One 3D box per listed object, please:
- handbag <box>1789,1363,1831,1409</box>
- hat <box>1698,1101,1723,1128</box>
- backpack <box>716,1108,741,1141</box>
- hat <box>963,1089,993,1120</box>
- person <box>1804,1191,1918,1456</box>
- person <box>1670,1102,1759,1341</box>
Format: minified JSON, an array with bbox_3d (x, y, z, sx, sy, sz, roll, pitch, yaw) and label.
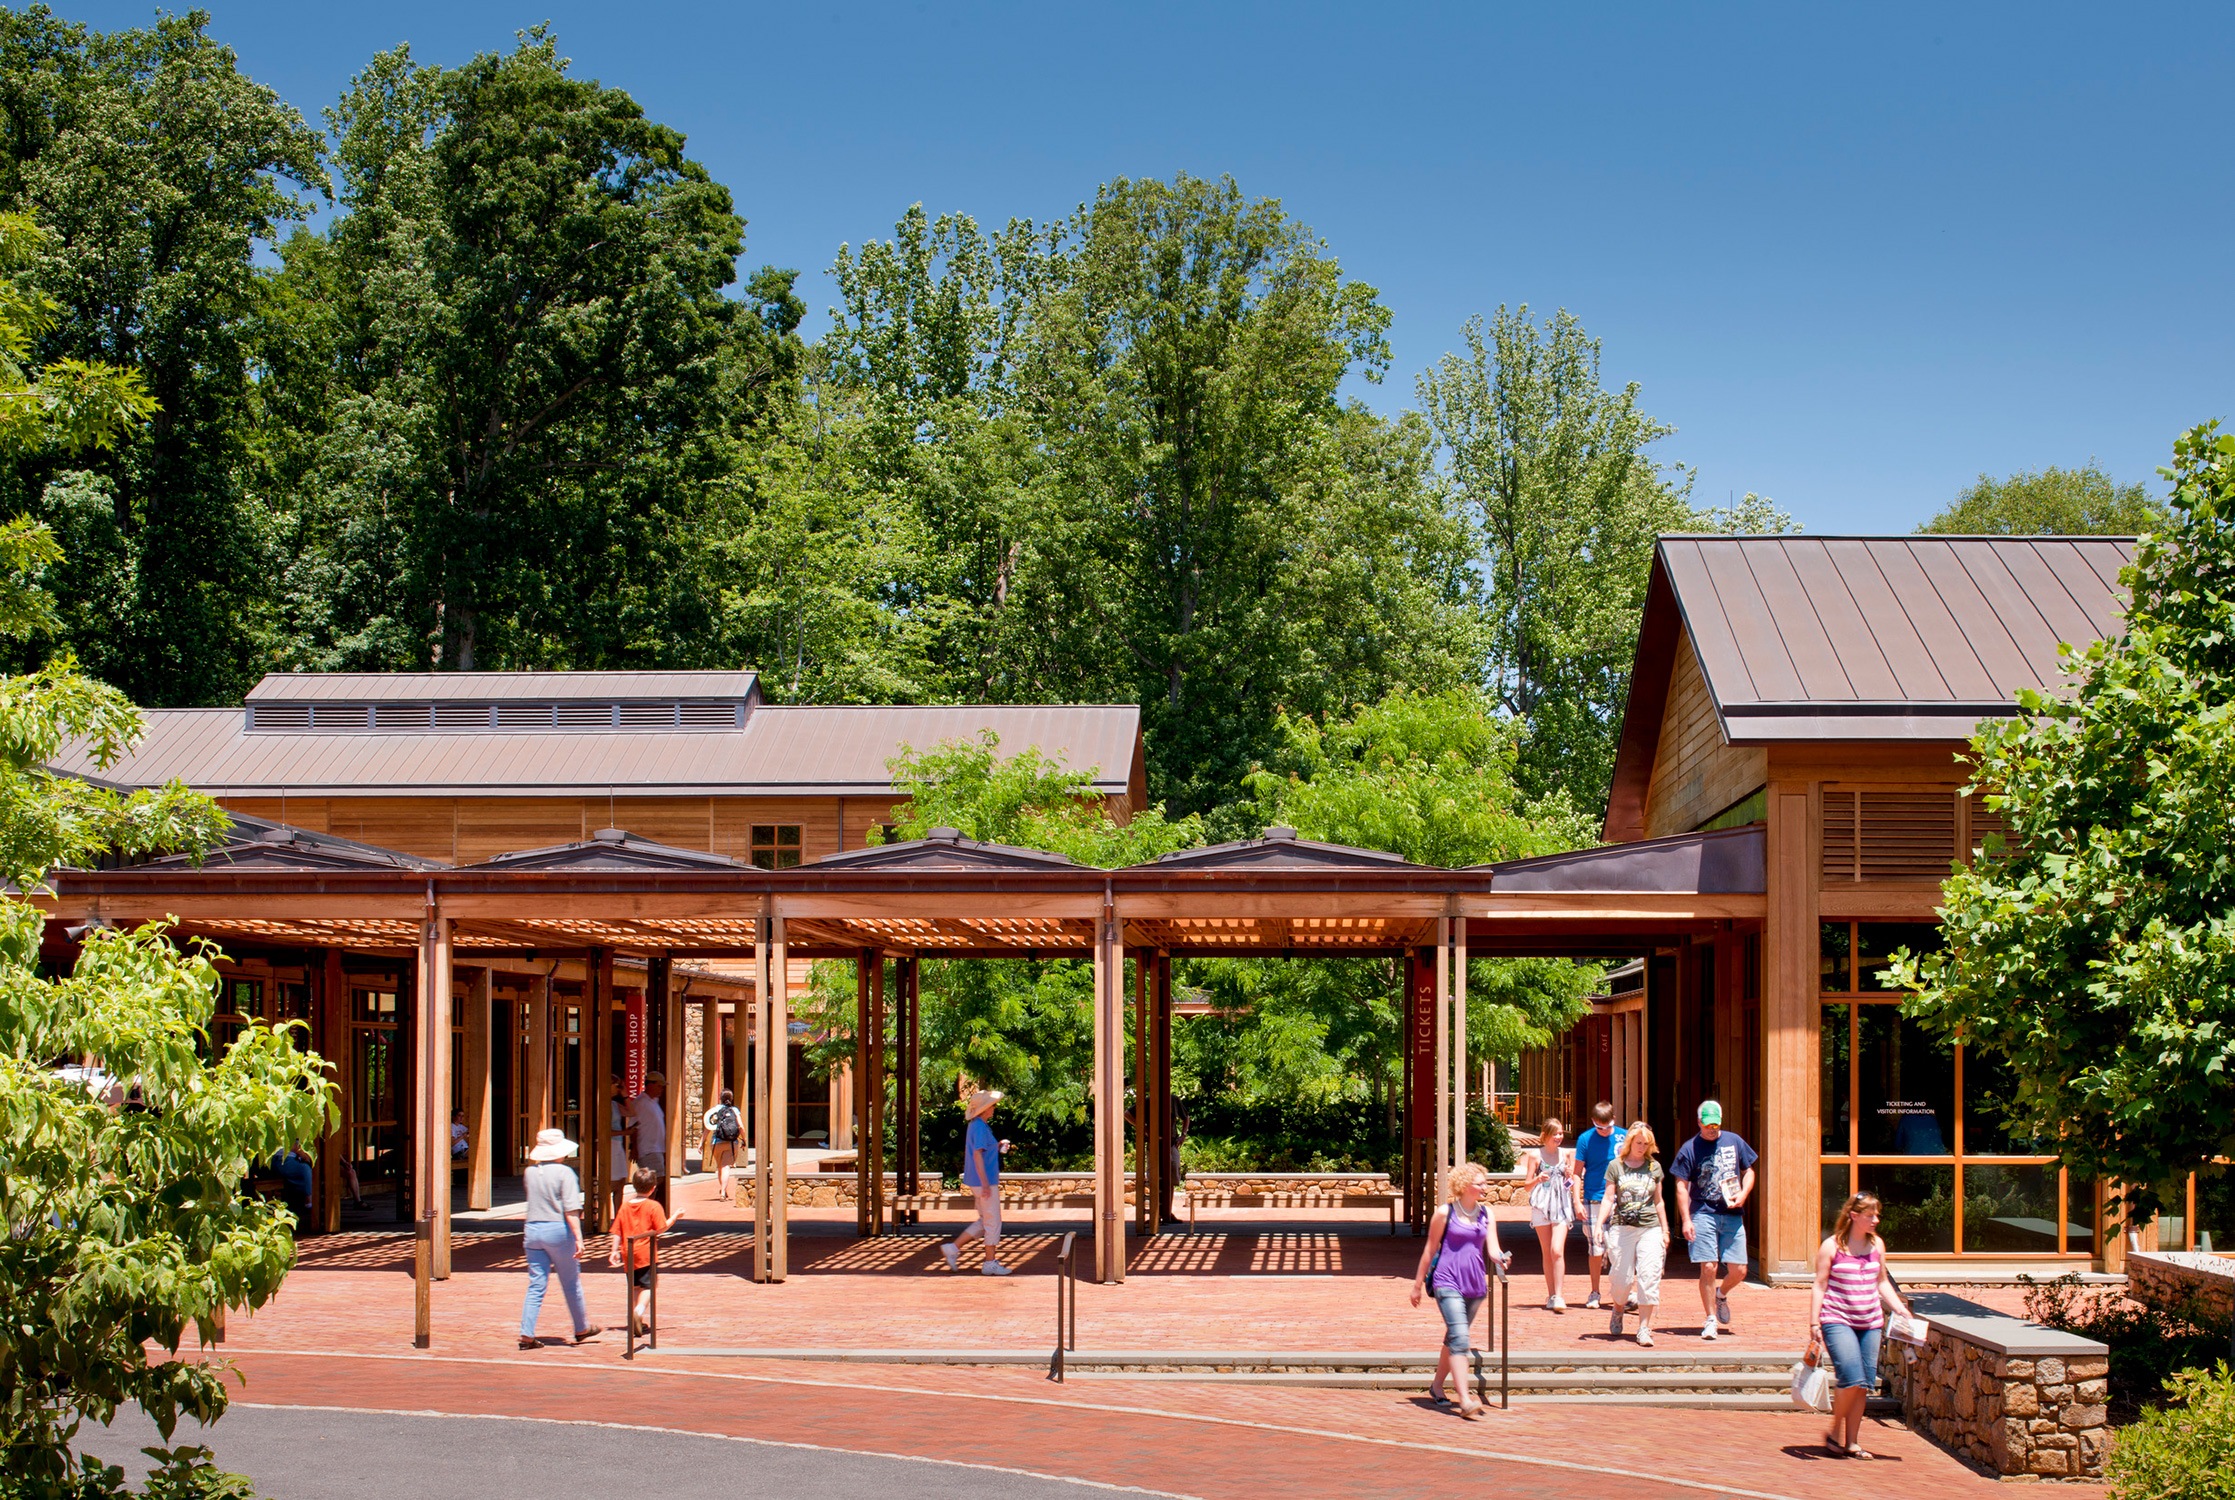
[{"bbox_3d":[6.458,5.907,26.755,0.343,0.378,0.629,-2,-10,12],"label":"handbag"},{"bbox_3d":[6.425,3.943,31.137,0.371,0.304,0.571,1,-7,2],"label":"hat"},{"bbox_3d":[-6.561,6.324,48.547,0.289,0.565,0.674,-3,-10,18],"label":"backpack"},{"bbox_3d":[-1.661,4.248,34.560,0.311,0.324,0.629,0,-10,-1],"label":"hat"},{"bbox_3d":[6.984,5.422,27.199,0.811,2.404,1.510,-2,-9,17],"label":"person"},{"bbox_3d":[6.442,5.068,31.020,0.777,2.485,1.503,-2,-9,11],"label":"person"}]
